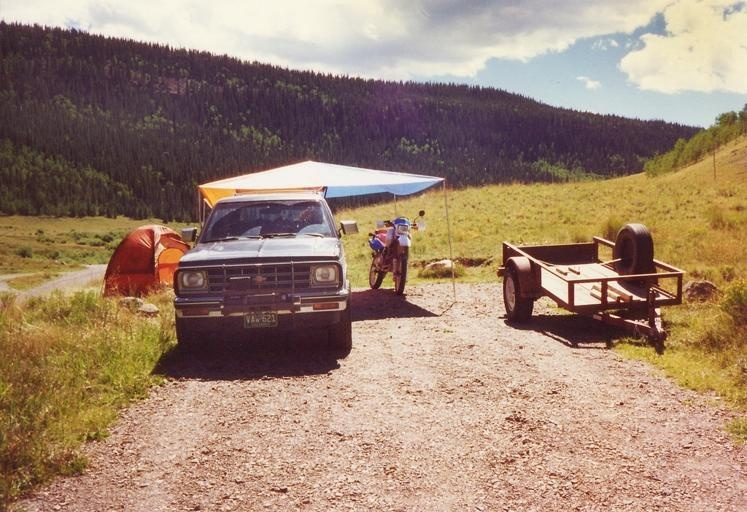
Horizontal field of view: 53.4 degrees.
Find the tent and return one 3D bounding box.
[{"bbox_3d":[-6.579,-0.050,21.573,1.720,1.862,2.081,2,4,22],"label":"tent"}]

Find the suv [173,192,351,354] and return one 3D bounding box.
[{"bbox_3d":[-2.022,0.114,14.653,2.020,1.924,3.650,-2,-3,-1],"label":"suv"}]

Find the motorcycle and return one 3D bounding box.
[{"bbox_3d":[0.610,-0.413,18.550,0.950,1.705,2.318,1,10,-5],"label":"motorcycle"}]
